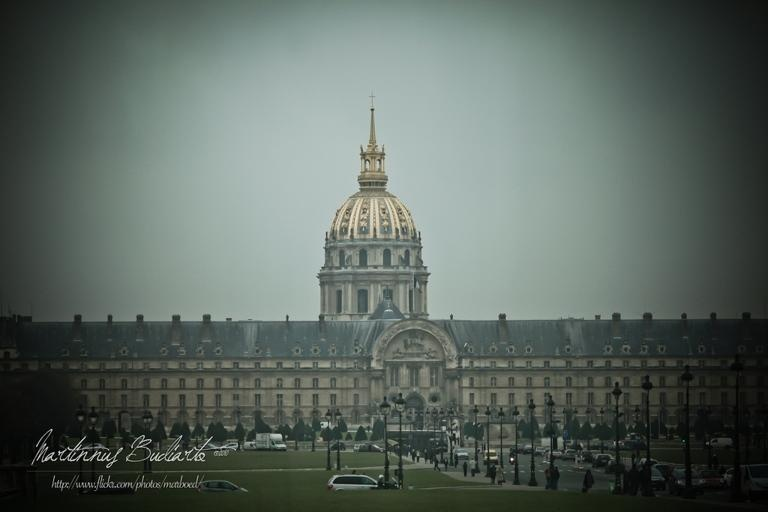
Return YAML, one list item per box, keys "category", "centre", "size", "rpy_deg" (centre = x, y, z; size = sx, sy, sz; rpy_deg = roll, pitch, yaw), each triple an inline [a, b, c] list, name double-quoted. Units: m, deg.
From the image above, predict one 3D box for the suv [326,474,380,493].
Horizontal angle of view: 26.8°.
- category: "suv"
  centre: [-2.283, 15.432, 109.246]
  size: [2.452, 1.097, 1.383]
  rpy_deg: [-2, 0, 2]

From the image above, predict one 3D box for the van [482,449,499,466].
- category: "van"
  centre: [9.245, 17.511, 140.161]
  size: [1.280, 1.061, 2.278]
  rpy_deg: [0, -11, -6]

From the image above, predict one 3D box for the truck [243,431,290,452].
- category: "truck"
  centre: [-11.846, 17.813, 154.899]
  size: [1.685, 2.015, 4.583]
  rpy_deg: [4, -9, -39]

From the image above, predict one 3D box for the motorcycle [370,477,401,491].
- category: "motorcycle"
  centre: [-0.052, 15.686, 110.574]
  size: [1.333, 0.651, 0.932]
  rpy_deg: [7, -11, -35]
